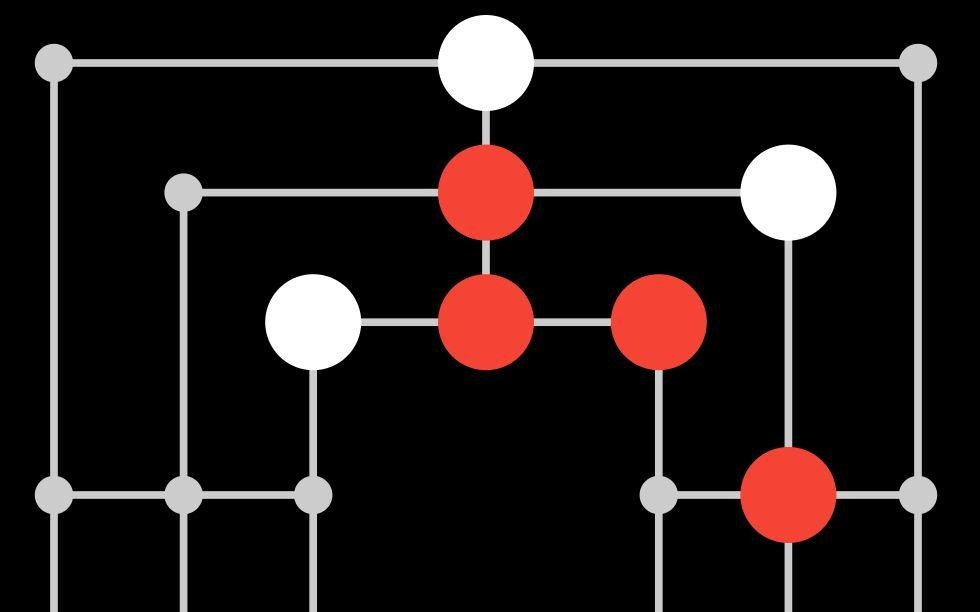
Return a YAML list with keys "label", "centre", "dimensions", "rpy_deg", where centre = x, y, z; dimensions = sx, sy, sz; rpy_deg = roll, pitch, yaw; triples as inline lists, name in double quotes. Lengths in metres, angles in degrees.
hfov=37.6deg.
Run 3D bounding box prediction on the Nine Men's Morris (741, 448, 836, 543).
- label: "Nine Men's Morris"
  centre: [1.021, 0.652, 4.994]
  dimensions: [0.310, 0.118, 0.322]
  rpy_deg: [-3, 85, -1]
